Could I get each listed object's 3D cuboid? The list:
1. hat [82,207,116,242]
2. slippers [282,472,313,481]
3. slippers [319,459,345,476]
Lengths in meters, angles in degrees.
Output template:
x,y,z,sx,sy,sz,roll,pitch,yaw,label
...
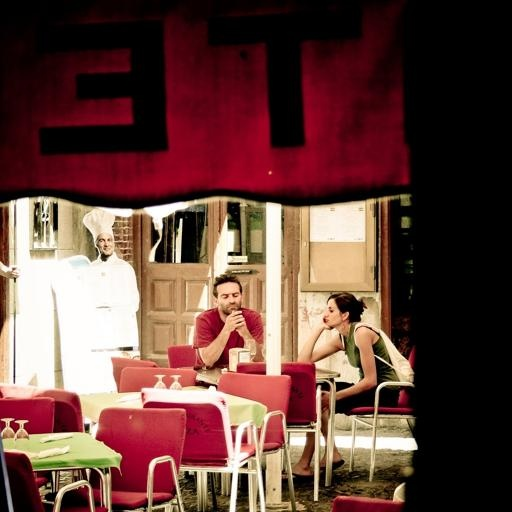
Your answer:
x,y,z,sx,sy,sz,roll,pitch,yaw,label
-1.656,-0.353,7.945,0.263,0.119,0.367,1,40,14,hat
0.302,1.614,5.659,0.227,0.072,0.188,2,-1,2,slippers
0.575,1.611,5.887,0.238,0.114,0.085,-9,4,-32,slippers
